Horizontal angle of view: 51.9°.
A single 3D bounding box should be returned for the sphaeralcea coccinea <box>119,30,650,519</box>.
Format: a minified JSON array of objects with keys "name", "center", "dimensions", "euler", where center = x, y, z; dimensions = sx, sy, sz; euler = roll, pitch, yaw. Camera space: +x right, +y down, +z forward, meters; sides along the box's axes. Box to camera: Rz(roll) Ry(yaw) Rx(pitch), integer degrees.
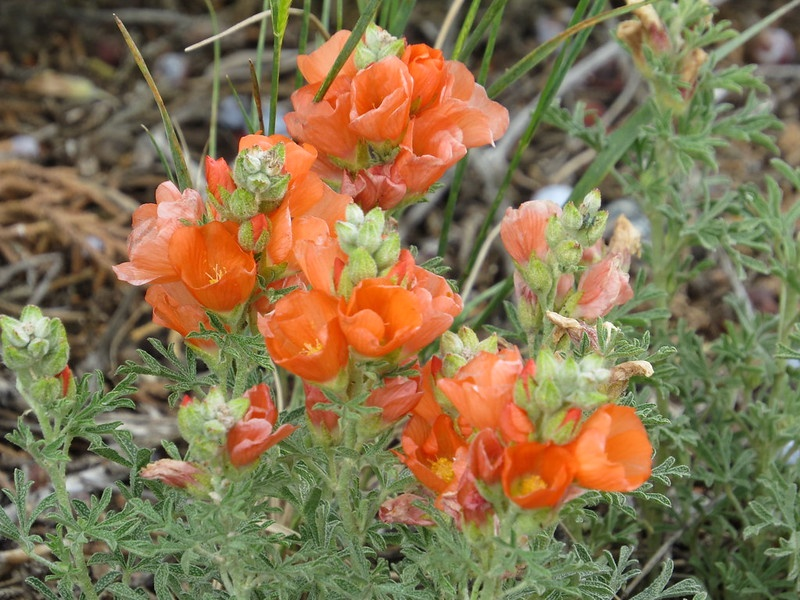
[{"name":"sphaeralcea coccinea","center":[-0.033,0.141,2.490],"dimensions":[1.242,1.086,1.411],"euler":[-9,61,-9]}]
